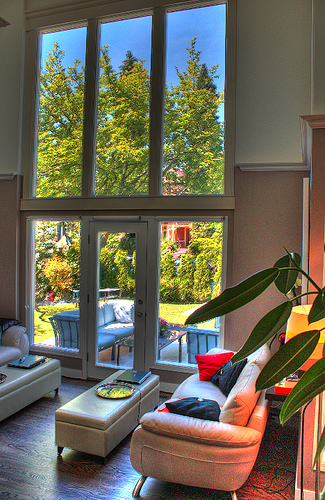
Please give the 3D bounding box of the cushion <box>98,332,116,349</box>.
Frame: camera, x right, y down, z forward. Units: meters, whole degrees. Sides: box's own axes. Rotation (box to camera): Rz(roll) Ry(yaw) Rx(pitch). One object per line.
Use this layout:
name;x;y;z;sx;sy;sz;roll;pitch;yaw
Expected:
cushion;-0.666;1.089;5.610;0.196;0.077;0.204;3;4;34

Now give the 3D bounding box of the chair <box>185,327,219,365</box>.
chair;0.484;1.133;5.286;0.417;0.390;0.332;3;-6;3

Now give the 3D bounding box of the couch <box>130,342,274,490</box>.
couch;0.475;1.313;3.899;0.874;0.712;1.857;4;4;19

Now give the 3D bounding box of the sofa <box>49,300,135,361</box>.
sofa;-0.800;1.117;5.692;0.687;0.562;1.182;-1;0;30

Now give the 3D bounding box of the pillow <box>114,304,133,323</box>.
pillow;-0.478;0.764;5.525;0.234;0.211;0.084;-2;-3;27

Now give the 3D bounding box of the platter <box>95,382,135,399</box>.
platter;-0.417;1.252;4.102;0.353;0.026;0.411;1;3;-7

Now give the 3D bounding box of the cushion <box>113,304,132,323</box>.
cushion;-0.471;0.769;5.550;0.234;0.210;0.086;1;0;27

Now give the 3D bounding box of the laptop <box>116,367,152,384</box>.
laptop;-0.278;1.232;4.488;0.281;0.046;0.467;4;1;8

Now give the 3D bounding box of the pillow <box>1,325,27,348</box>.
pillow;-1.824;1.057;5.624;0.227;0.220;0.110;6;-6;19

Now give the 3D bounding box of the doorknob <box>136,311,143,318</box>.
doorknob;-0.266;0.766;5.389;0.066;0.064;0.015;3;-6;20
